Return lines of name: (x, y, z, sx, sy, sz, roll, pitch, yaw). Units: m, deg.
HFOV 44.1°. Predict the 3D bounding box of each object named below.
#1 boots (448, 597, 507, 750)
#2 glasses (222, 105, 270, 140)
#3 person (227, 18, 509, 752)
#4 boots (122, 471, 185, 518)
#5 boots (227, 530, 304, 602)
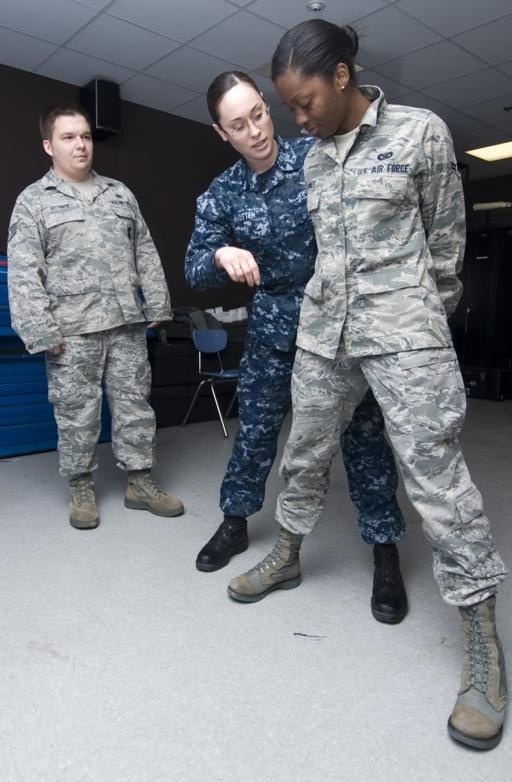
boots: (0.442, 0.557, 1.255, 0.103, 0.255, 0.156, 2, 9, 21)
glasses: (-0.019, -0.676, 1.616, 0.106, 0.035, 0.103, -22, 15, 4)
person: (0.271, -0.046, 1.395, 0.566, 1.415, 0.517, 1, 9, 16)
boots: (-0.447, 0.437, 2.659, 0.346, 0.203, 0.118, 5, 8, 26)
boots: (0.026, 0.502, 1.856, 0.243, 0.187, 0.095, -3, 9, -30)
